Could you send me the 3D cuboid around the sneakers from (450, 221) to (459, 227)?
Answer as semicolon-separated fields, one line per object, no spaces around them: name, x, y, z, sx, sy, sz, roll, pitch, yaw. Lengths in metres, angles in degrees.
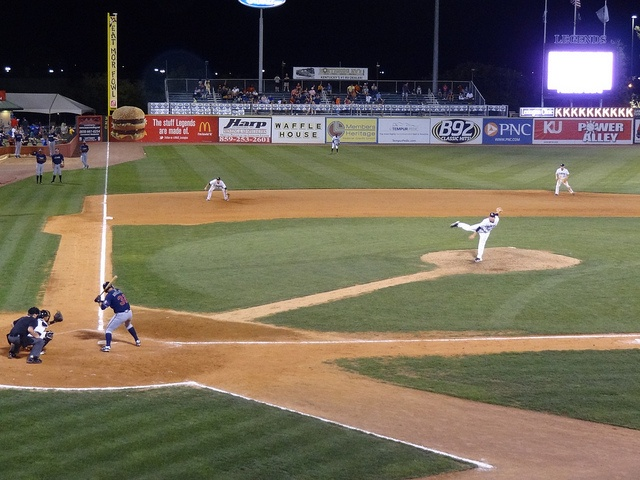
sneakers;4.887;-0.568;25.461;0.180;0.193;0.522;15;30;35

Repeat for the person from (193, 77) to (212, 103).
person;-10.869;-13.836;65.064;1.573;1.990;0.496;-3;9;-24

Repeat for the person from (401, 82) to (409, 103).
person;8.339;-14.253;68.266;0.563;1.759;0.447;-8;11;-43

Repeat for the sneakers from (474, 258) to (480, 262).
sneakers;5.233;0.663;23.329;0.136;0.126;0.351;-2;1;27

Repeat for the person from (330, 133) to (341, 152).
person;1.158;-7.453;54.610;0.535;1.357;1.315;0;8;-2

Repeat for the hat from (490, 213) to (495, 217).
hat;5.654;-0.809;22.919;0.181;0.089;0.163;-1;5;-20

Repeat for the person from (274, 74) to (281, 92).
person;-4.057;-14.909;67.744;0.606;1.515;1.212;-1;8;-4

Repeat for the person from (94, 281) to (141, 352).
person;-5.006;1.958;17.378;1.317;1.696;0.970;12;27;16

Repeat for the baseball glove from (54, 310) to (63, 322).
baseball glove;-5.935;1.742;16.108;0.262;0.254;0.315;4;-13;-14

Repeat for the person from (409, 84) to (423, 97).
person;9.337;-14.549;68.378;1.260;1.327;0.313;0;8;-1

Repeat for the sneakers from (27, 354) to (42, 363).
sneakers;-6.155;2.596;15.312;0.373;0.206;0.127;1;10;-9

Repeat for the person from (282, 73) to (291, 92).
person;-3.237;-14.982;68.111;0.608;1.431;1.313;0;8;-2

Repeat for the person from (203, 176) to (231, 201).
person;-5.360;-2.609;36.682;1.622;1.058;1.637;-8;-32;-14

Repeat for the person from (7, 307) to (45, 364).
person;-6.441;2.109;15.531;1.019;1.083;0.587;7;10;41

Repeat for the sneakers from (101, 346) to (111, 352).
sneakers;-4.897;2.462;16.096;0.207;0.158;0.286;-2;7;-15
